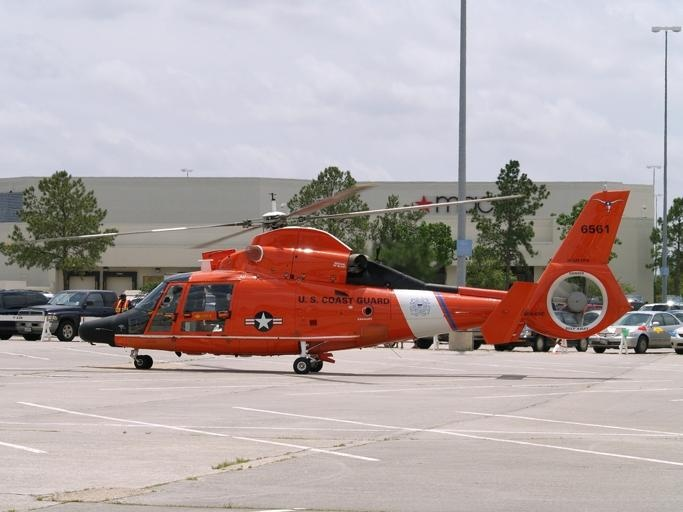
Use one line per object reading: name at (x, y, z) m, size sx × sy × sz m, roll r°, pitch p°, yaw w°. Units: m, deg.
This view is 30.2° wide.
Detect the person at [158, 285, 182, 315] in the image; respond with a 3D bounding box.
person at (-4.515, 1.151, 32.965) m, size 0.923 × 0.672 × 0.646 m, roll -6°, pitch -8°, yaw 24°
